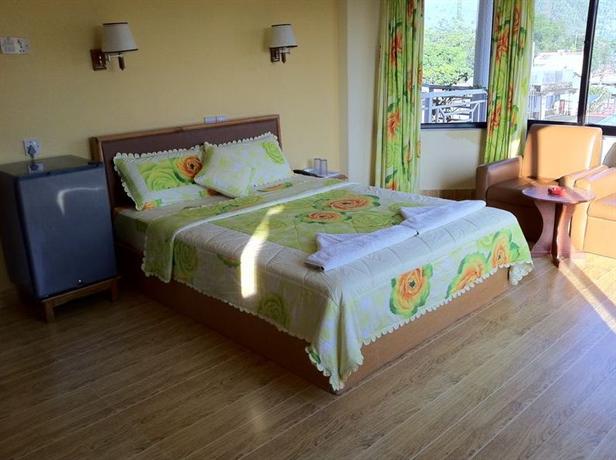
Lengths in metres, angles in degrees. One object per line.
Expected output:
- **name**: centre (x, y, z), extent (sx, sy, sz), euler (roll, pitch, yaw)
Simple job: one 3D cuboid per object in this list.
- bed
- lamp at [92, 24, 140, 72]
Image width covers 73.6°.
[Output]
- **bed**: centre (-0.109, -0.172, 3.638), extent (3.569, 1.359, 2.334), euler (12, 25, 34)
- **lamp**: centre (-1.743, -1.616, 3.710), extent (0.395, 0.383, 0.295), euler (-5, 25, -9)
